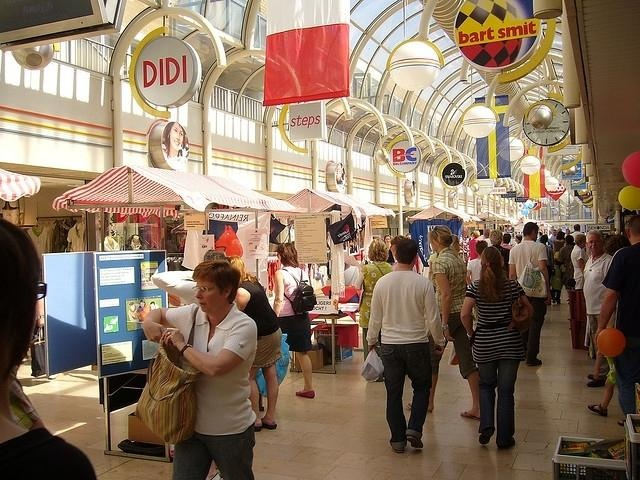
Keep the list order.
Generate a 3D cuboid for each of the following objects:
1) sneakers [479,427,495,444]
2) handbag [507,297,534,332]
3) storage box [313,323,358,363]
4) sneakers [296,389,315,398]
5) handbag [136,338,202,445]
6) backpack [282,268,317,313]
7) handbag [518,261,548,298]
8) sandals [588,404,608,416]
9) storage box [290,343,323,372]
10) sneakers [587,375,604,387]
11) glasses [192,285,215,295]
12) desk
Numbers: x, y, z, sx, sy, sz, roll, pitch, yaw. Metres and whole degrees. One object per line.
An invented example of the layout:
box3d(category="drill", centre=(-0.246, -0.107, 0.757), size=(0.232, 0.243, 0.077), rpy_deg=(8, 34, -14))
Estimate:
box3d(category="sneakers", centre=(1.586, 1.895, 4.902), size=(0.106, 0.215, 0.073), rpy_deg=(19, 23, 0))
box3d(category="handbag", centre=(1.936, 0.712, 4.883), size=(0.258, 0.337, 0.106), rpy_deg=(-1, 0, -30))
box3d(category="storage box", centre=(0.272, 1.697, 8.492), size=(0.603, 0.423, 0.649), rpy_deg=(0, 2, 18))
box3d(category="sneakers", centre=(-0.189, 2.041, 6.708), size=(0.248, 0.113, 0.096), rpy_deg=(6, -1, 29))
box3d(category="handbag", centre=(-0.872, 0.871, 2.932), size=(0.356, 0.403, 0.190), rpy_deg=(-1, 0, -7))
box3d(category="backpack", centre=(-0.242, 0.697, 6.858), size=(0.505, 0.661, 0.372), rpy_deg=(2, 5, 30))
box3d(category="handbag", centre=(3.144, 0.601, 7.530), size=(0.488, 0.620, 0.275), rpy_deg=(1, 2, 28))
box3d(category="sandals", centre=(3.157, 1.930, 5.844), size=(0.198, 0.095, 0.106), rpy_deg=(13, 6, 42))
box3d(category="storage box", centre=(-0.182, 1.927, 8.303), size=(0.474, 0.417, 0.520), rpy_deg=(-1, -6, 7))
box3d(category="sneakers", centre=(3.713, 1.928, 6.881), size=(0.212, 0.081, 0.164), rpy_deg=(-2, 2, 0))
box3d(category="glasses", centre=(-0.694, 0.295, 2.986), size=(0.070, 0.046, 0.156), rpy_deg=(-1, 0, -44))
box3d(category="desk", centre=(0.252, 1.586, 8.474), size=(0.741, 0.803, 1.427), rpy_deg=(1, 3, 11))
